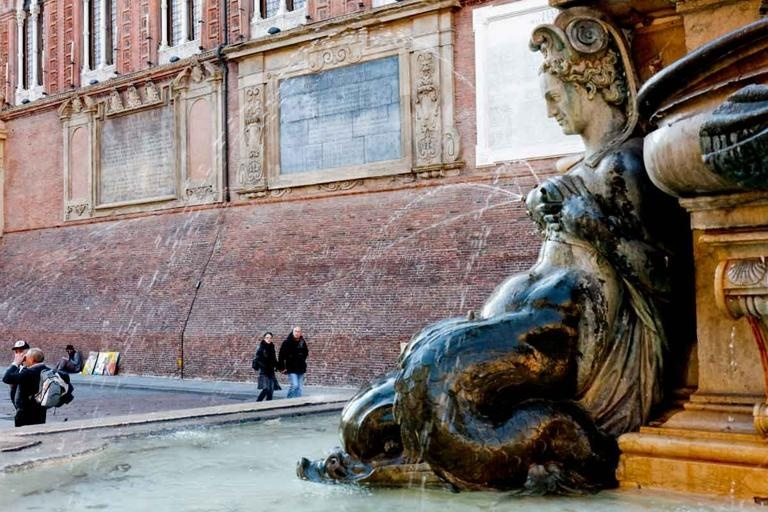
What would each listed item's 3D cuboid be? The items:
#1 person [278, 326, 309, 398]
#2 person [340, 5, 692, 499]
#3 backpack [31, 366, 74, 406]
[{"bbox_3d":[-1.376,1.651,15.020,0.430,1.121,0.721,-4,3,-5],"label":"person"},{"bbox_3d":[0.829,-0.084,5.174,1.482,2.557,0.657,-5,3,-28],"label":"person"},{"bbox_3d":[-3.136,1.276,9.481,0.369,0.363,0.339,0,-4,12],"label":"backpack"}]
